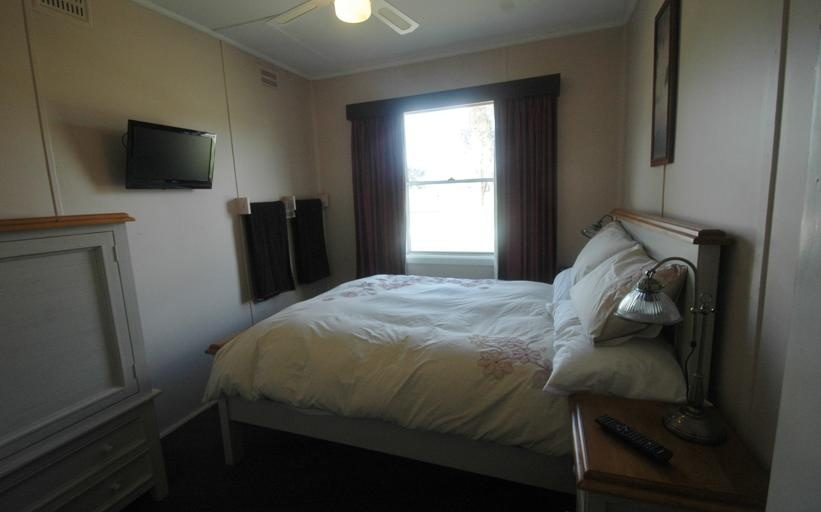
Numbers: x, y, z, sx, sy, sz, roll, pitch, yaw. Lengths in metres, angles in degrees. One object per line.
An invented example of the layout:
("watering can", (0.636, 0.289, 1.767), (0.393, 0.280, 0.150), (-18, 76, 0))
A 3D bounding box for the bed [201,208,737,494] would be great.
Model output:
("bed", (0.558, 0.578, 3.490), (2.040, 1.279, 2.085), (4, 10, 25))

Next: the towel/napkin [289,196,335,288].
("towel/napkin", (-1.031, -0.161, 5.563), (0.189, 1.179, 0.899), (1, 5, 18))

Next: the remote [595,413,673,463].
("remote", (1.125, 0.908, 2.751), (0.155, 0.053, 0.313), (-8, 22, -34))

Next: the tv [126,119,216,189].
("tv", (-1.817, -0.755, 4.070), (0.064, 0.430, 0.594), (16, 13, 29))

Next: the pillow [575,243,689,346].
("pillow", (1.385, 0.184, 3.543), (0.593, 0.469, 1.295), (1, 10, 13))

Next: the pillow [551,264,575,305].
("pillow", (1.115, 0.227, 4.003), (0.065, 0.244, 0.268), (21, -1, 5))
